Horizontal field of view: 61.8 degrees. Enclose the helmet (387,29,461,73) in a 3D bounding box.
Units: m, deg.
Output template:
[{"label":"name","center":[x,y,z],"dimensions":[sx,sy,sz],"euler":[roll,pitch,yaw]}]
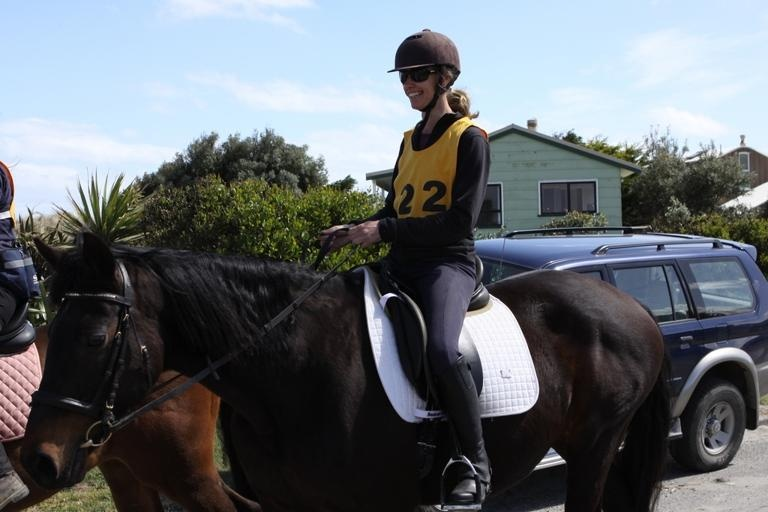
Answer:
[{"label":"helmet","center":[0.272,-1.438,4.472],"dimensions":[0.555,0.292,0.415],"euler":[-15,17,-42]}]
